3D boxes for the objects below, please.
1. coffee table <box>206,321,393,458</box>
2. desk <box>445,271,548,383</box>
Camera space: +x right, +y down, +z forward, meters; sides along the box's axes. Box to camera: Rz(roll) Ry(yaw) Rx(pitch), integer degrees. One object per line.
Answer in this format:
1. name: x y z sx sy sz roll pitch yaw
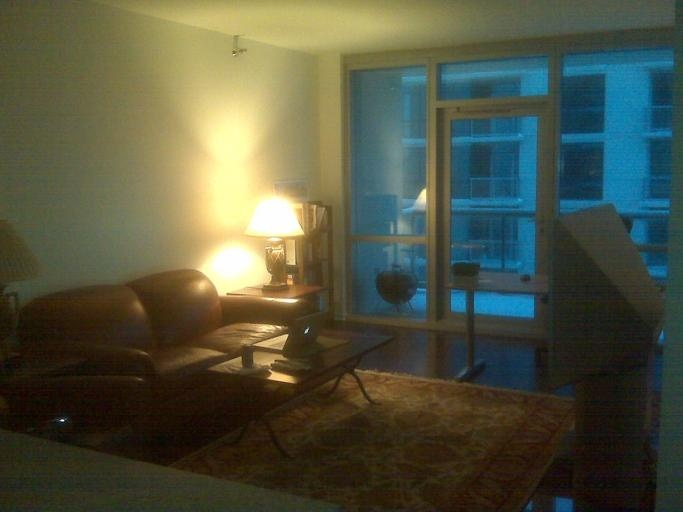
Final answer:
1. coffee table: -0.203 0.377 1.951 0.245 0.139 0.543 3 5 25
2. desk: 0.636 0.301 2.383 0.422 0.362 0.276 -1 -2 34
